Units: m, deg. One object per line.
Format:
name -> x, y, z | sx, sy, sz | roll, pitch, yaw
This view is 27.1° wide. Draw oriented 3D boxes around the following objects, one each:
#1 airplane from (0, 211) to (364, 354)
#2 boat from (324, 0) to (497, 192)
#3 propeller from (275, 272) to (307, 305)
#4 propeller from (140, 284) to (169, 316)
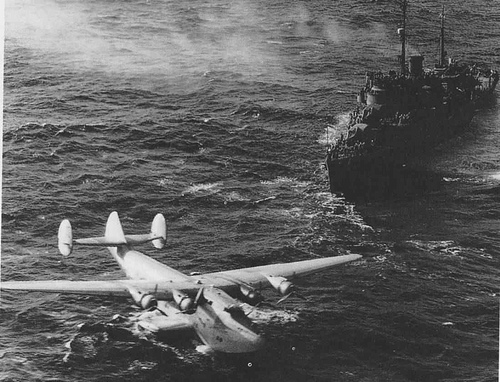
airplane -> -1.371, 2.088, 22.469 | 5.006, 1.029, 3.720 | -8, 26, -37
boat -> 3.773, -2.097, 26.542 | 2.280, 2.960, 7.105 | 25, 41, 37
propeller -> 0.870, 2.144, 22.575 | 0.772, 0.690, 0.112 | -2, 14, -32
propeller -> -2.075, 2.385, 21.874 | 0.269, 0.243, 0.930 | 19, 3, -18
